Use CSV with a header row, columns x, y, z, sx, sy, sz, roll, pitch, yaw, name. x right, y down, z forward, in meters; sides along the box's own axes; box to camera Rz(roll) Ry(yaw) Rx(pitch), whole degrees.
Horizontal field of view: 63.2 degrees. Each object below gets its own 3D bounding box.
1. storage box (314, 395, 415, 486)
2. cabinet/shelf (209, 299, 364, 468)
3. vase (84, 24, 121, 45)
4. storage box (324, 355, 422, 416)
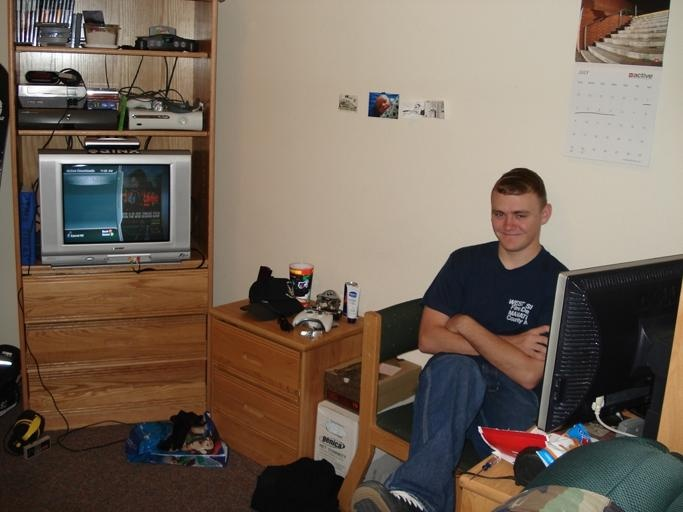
x,y,z,sx,sy,sz,roll,pitch,yaw,name
0.044,0.913,2.872,0.277,0.469,0.353,20,40,16,storage box
-0.276,0.708,3.138,0.590,0.787,0.828,-8,13,-43,cabinet/shelf
-1.311,-1.187,3.025,0.137,0.083,0.132,2,13,-6,vase
0.163,0.626,2.853,0.379,0.166,0.508,16,17,24,storage box
